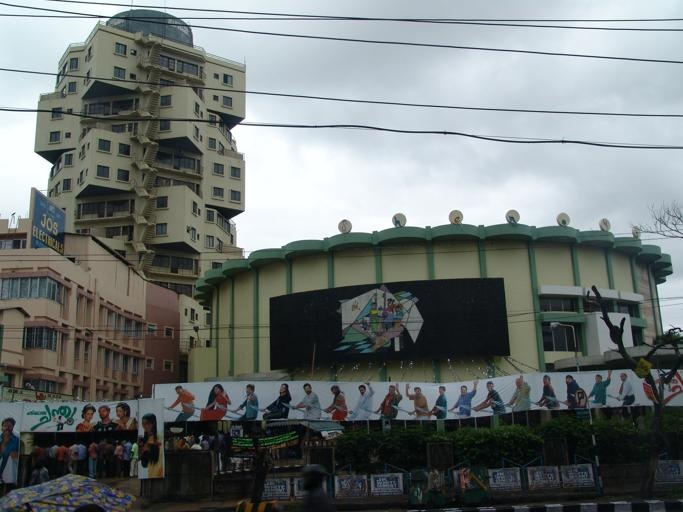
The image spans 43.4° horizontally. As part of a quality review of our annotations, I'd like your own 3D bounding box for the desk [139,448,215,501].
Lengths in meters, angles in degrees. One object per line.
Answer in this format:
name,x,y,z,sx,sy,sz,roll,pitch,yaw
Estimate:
desk,-8.280,11.837,46.018,2.944,2.950,1.896,1,3,0
